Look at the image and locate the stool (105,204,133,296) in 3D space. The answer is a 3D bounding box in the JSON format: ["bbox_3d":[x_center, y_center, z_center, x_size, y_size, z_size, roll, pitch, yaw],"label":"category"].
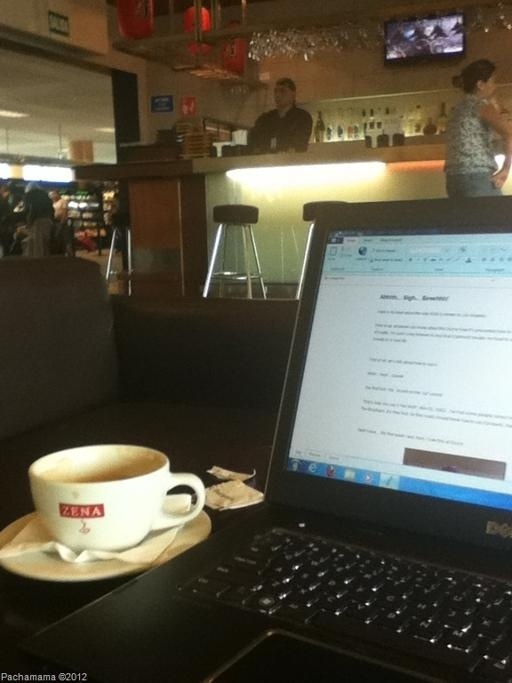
[{"bbox_3d":[-1.535,-1.093,6.169,0.379,0.939,0.311,-2,15,-31],"label":"stool"}]

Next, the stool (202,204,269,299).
[{"bbox_3d":[-0.144,-0.688,4.422,0.634,0.720,0.645,-9,15,-28],"label":"stool"}]

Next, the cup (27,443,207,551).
[{"bbox_3d":[-0.098,0.099,0.400,0.101,0.049,0.080,3,2,6],"label":"cup"}]

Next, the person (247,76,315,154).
[{"bbox_3d":[0.206,-2.226,5.638,0.701,0.930,0.554,1,14,-2],"label":"person"}]
